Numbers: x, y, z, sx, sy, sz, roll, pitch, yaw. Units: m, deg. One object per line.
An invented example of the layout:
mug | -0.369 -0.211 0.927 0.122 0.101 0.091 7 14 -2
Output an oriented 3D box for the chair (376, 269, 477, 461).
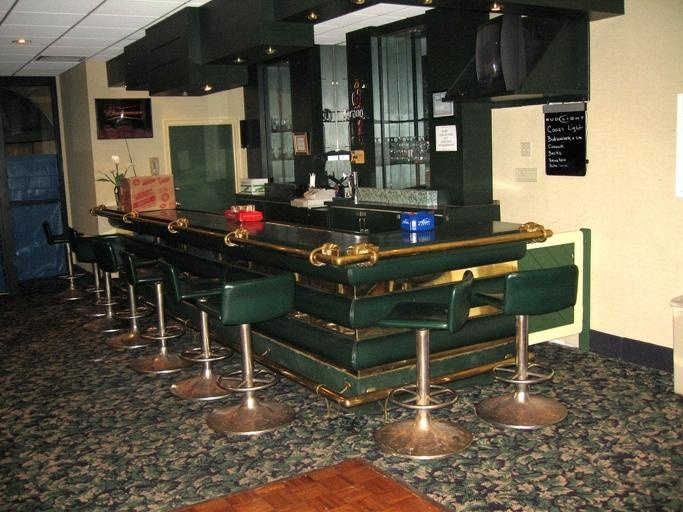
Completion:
chair | 0.530 0.693 3.782 0.654 1.126 0.681 -1 15 17

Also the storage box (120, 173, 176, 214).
storage box | -2.219 -0.691 6.507 0.795 0.404 0.395 -7 10 -36

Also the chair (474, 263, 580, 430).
chair | 1.312 0.586 4.087 0.688 1.122 0.724 0 15 18

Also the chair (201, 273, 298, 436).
chair | -0.751 0.670 4.137 0.764 1.094 0.656 4 17 33

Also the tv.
tv | 1.235 -1.515 4.309 0.228 0.577 0.390 -12 16 -22

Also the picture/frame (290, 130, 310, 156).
picture/frame | -0.531 -1.470 7.500 0.089 0.308 0.352 -14 16 -26
